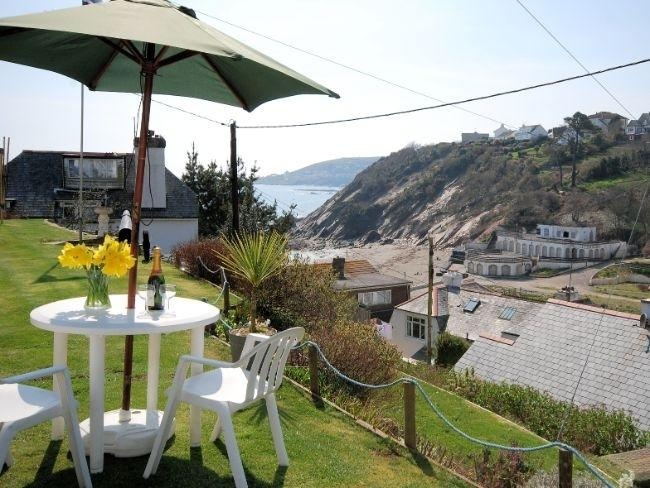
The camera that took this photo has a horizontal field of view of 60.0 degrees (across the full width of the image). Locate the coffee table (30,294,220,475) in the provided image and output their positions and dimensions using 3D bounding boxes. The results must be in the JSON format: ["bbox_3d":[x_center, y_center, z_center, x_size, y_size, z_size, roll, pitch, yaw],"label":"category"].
[{"bbox_3d":[-2.246,1.410,6.333,1.669,1.401,1.760,0,17,-19],"label":"coffee table"}]

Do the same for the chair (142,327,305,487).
[{"bbox_3d":[-0.895,1.445,6.312,1.404,2.207,1.500,10,4,25],"label":"chair"}]

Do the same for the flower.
[{"bbox_3d":[-2.407,0.316,5.947,0.607,0.719,0.677,-1,-3,-9],"label":"flower"}]
